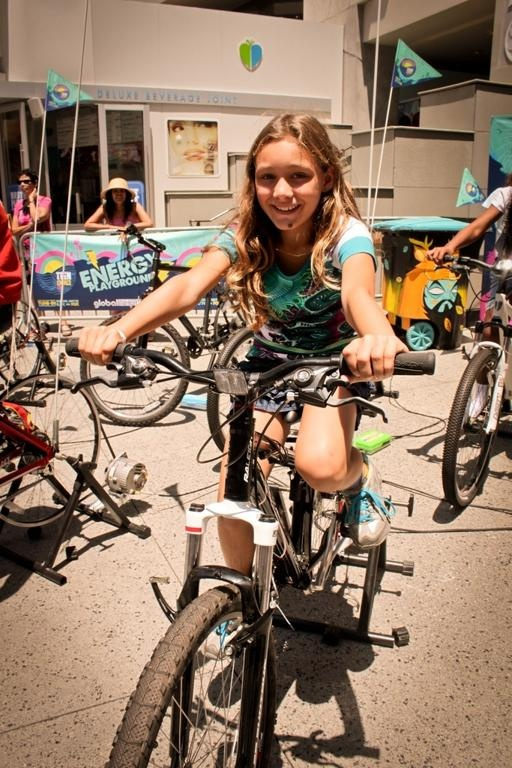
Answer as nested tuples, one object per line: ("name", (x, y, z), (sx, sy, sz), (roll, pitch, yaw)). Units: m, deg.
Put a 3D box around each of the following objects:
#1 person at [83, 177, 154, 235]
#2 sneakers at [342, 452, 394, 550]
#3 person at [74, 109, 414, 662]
("person", (-1.794, -2.378, 7.545), (0.862, 0.564, 1.151), (2, 36, -12))
("sneakers", (0.399, 0.408, 2.017), (0.148, 0.145, 0.366), (-12, 25, 14))
("person", (0.045, 0.131, 1.715), (0.722, 1.791, 1.024), (3, 13, 14))
